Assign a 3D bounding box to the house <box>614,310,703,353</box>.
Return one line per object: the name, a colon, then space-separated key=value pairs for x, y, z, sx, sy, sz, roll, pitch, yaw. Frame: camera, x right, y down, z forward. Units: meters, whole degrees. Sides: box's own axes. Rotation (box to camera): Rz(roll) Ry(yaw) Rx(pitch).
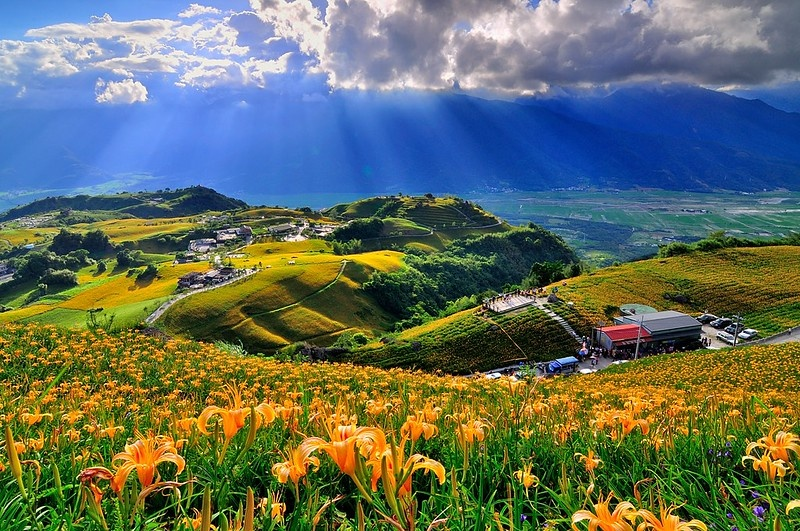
house: x=25.826 y=6.982 z=46.091 sx=5.642 sy=1.500 sz=4.044 roll=-5 pitch=13 yaw=-14
